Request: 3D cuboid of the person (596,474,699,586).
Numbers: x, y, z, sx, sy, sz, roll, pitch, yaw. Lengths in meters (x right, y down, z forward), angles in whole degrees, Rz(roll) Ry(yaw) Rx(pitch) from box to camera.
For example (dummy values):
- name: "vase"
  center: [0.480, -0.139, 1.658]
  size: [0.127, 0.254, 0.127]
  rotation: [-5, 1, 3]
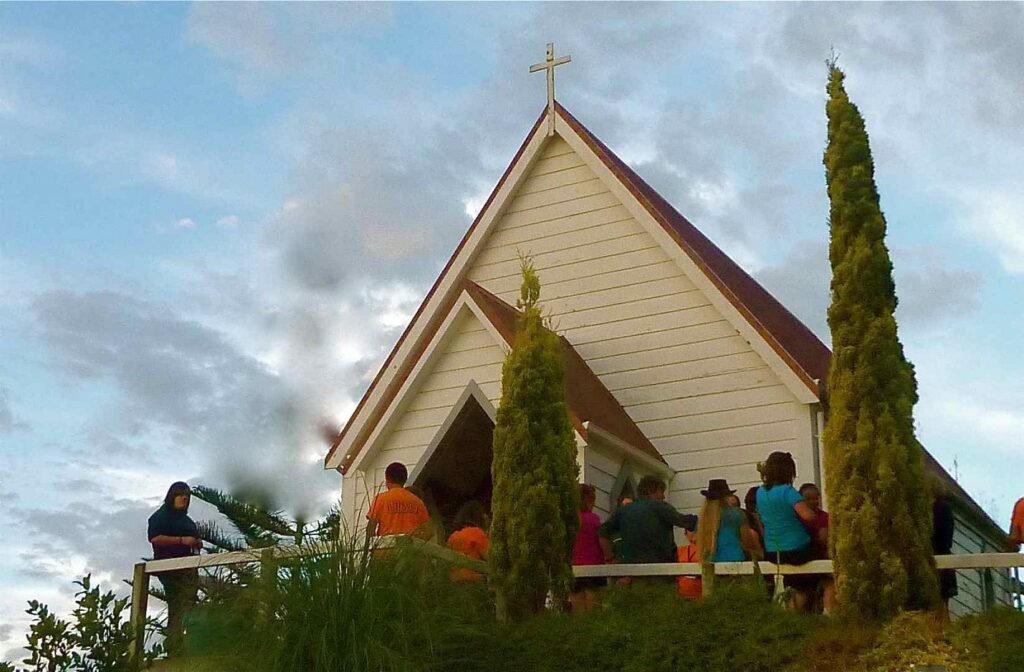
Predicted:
- name: "person"
  center: [1.887, 2.826, 15.122]
  size: [1.223, 2.321, 0.879]
  rotation: [-8, -41, 31]

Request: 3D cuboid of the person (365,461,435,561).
- name: "person"
  center: [-1.565, 2.701, 14.440]
  size: [0.838, 1.992, 0.452]
  rotation: [1, 11, -8]

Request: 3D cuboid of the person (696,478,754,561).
- name: "person"
  center: [2.811, 2.483, 13.983]
  size: [0.788, 1.200, 0.587]
  rotation: [6, -25, -14]

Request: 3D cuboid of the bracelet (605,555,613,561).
- name: "bracelet"
  center: [1.386, 3.189, 15.090]
  size: [0.112, 0.112, 0.182]
  rotation: [-3, -11, 17]
